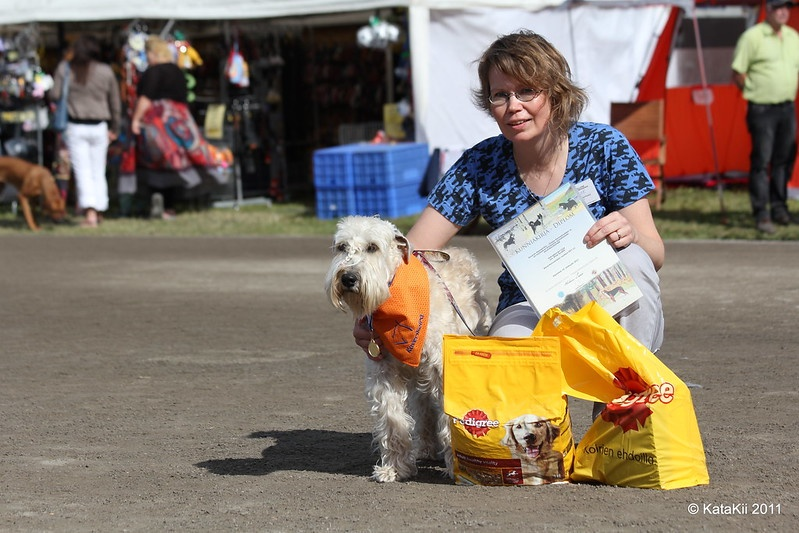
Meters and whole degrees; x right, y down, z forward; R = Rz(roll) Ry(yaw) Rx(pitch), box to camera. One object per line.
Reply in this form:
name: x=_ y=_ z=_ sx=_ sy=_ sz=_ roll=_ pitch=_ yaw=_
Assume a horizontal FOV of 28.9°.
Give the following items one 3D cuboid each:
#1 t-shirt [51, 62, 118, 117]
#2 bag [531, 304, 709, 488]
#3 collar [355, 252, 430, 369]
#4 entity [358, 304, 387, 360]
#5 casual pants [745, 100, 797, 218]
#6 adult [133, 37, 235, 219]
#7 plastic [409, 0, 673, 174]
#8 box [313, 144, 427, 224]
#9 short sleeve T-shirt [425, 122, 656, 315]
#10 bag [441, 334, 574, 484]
t-shirt: x=-3.431 y=-1.913 z=17.086 sx=0.800 sy=0.797 sz=0.570 roll=-5 pitch=19 yaw=-24
bag: x=1.686 y=1.012 z=12.040 sx=1.280 sy=1.416 sz=1.066 roll=-7 pitch=6 yaw=4
collar: x=0.004 y=0.278 z=11.903 sx=0.159 sy=0.863 sz=0.570 roll=-5 pitch=-33 yaw=40
entity: x=-0.227 y=0.528 z=11.961 sx=0.239 sy=0.346 sz=0.158 roll=-1 pitch=-6 yaw=7
casual pants: x=4.030 y=-1.137 z=16.733 sx=0.575 sy=1.268 sz=0.482 roll=-3 pitch=4 yaw=-3
adult: x=-2.159 y=-1.396 z=14.967 sx=0.864 sy=1.757 sz=2.370 roll=-3 pitch=5 yaw=-10
plastic: x=1.775 y=-2.522 z=19.597 sx=2.456 sy=1.057 sz=2.512 roll=1 pitch=17 yaw=11
box: x=-0.374 y=-0.993 z=18.471 sx=0.984 sy=0.637 sz=0.995 roll=-4 pitch=6 yaw=-22
short sleeve T-shirt: x=1.130 y=-0.318 z=12.330 sx=1.585 sy=1.361 sz=0.556 roll=-13 pitch=7 yaw=10
bag: x=0.841 y=1.078 z=11.849 sx=1.002 sy=1.253 sz=0.483 roll=-2 pitch=4 yaw=6
